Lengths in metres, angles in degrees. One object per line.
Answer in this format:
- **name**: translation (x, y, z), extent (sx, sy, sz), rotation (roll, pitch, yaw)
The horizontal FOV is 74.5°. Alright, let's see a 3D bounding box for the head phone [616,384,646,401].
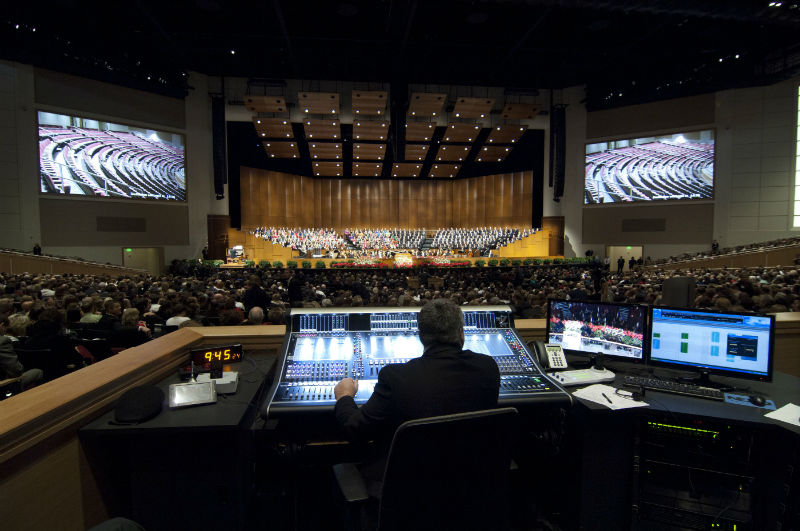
- **head phone**: translation (2.533, 1.396, 5.776), extent (0.183, 0.069, 0.193), rotation (4, -3, -32)

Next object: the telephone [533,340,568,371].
- **telephone**: translation (1.723, 1.002, 6.194), extent (0.420, 0.410, 0.320), rotation (-1, 4, -16)

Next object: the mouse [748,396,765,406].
- **mouse**: translation (3.862, 1.469, 5.669), extent (0.184, 0.092, 0.060), rotation (-3, 2, 1)

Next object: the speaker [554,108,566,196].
- **speaker**: translation (6.908, -4.849, 22.863), extent (0.488, 3.881, 0.972), rotation (-2, 2, 16)
